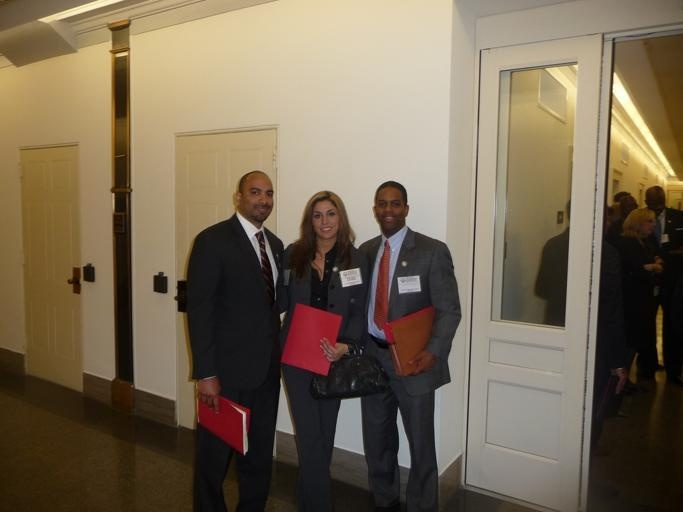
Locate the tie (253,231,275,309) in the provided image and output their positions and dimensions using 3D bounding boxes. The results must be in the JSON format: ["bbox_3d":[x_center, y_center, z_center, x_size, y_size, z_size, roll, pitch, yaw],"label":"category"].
[{"bbox_3d":[-0.502,0.075,3.569,0.076,0.631,0.070,-12,-10,-2],"label":"tie"}]

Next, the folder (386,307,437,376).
[{"bbox_3d":[0.452,0.545,3.475,0.355,0.395,0.096,-15,6,-30],"label":"folder"}]

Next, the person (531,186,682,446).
[{"bbox_3d":[2.112,0.438,4.273,0.596,1.843,1.456,10,15,42],"label":"person"}]

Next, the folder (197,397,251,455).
[{"bbox_3d":[-0.737,1.065,3.400,0.455,0.322,0.144,9,14,37],"label":"folder"}]

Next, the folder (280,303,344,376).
[{"bbox_3d":[-0.204,0.553,3.493,0.397,0.446,0.151,0,11,2],"label":"folder"}]
